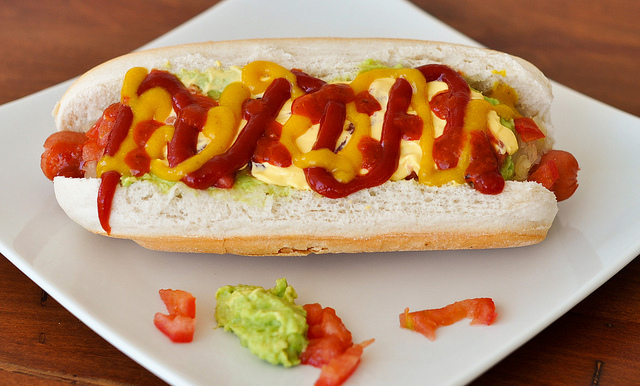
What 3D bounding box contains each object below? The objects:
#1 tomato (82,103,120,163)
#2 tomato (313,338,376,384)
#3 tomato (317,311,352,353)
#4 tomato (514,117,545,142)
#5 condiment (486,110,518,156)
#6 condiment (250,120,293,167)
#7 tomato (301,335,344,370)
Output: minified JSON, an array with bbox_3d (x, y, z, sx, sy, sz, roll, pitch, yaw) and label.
[{"bbox_3d":[-1.553,-0.429,4.134,0.111,0.266,0.453,33,58,-20],"label":"tomato"},{"bbox_3d":[0.152,1.115,3.676,0.138,0.131,0.425,35,55,27],"label":"tomato"},{"bbox_3d":[0.102,0.926,3.756,0.064,0.219,0.216,-45,76,14],"label":"tomato"},{"bbox_3d":[1.540,-0.508,4.076,0.217,0.342,0.126,5,77,22],"label":"tomato"},{"bbox_3d":[1.286,-0.444,3.996,0.185,0.070,0.309,-1,62,-20],"label":"condiment"},{"bbox_3d":[-0.310,-0.350,3.967,0.296,0.130,0.304,14,56,10],"label":"condiment"},{"bbox_3d":[0.010,1.034,3.728,0.267,0.090,0.385,0,23,23],"label":"tomato"}]
